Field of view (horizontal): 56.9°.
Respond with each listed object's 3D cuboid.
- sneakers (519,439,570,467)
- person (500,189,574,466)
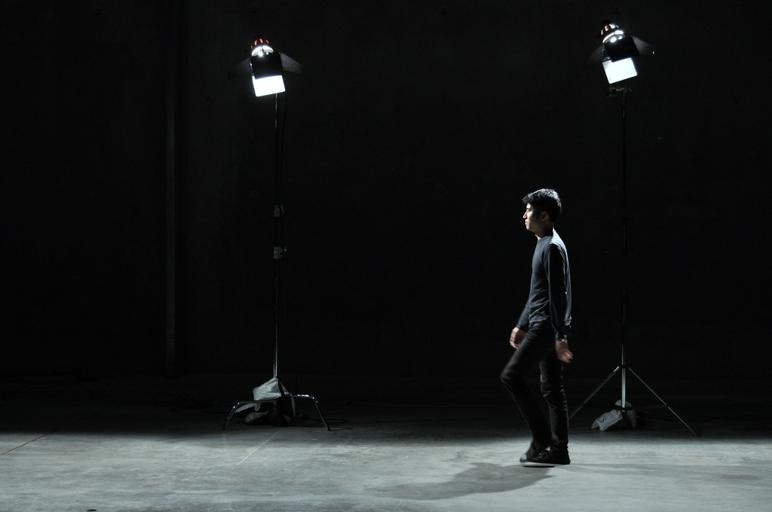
[{"bbox_3d":[1.157,1.438,5.202,0.345,0.126,0.149,3,-8,9],"label":"sneakers"},{"bbox_3d":[1.123,0.521,5.229,0.490,1.988,0.439,1,6,13],"label":"person"}]
